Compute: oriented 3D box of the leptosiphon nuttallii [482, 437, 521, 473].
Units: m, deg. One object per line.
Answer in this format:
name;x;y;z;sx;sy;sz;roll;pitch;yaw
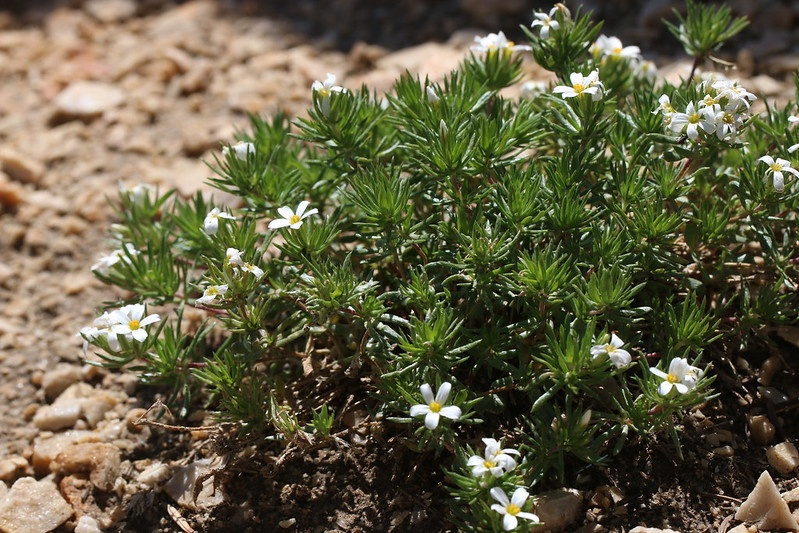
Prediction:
leptosiphon nuttallii;0.629;1.162;5.515;0.190;0.202;0.075;21;77;19
